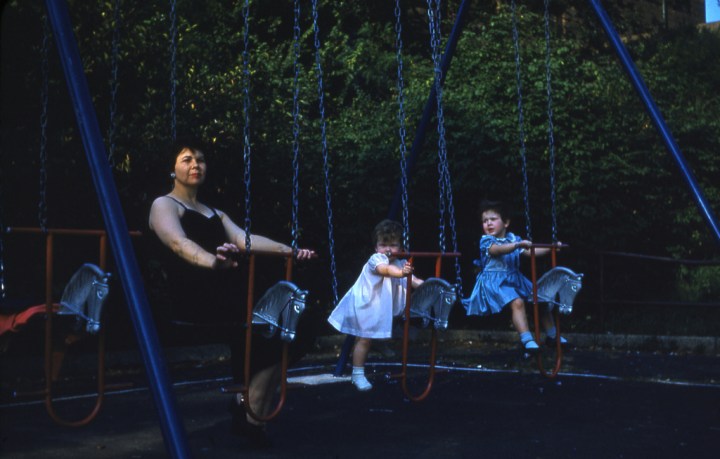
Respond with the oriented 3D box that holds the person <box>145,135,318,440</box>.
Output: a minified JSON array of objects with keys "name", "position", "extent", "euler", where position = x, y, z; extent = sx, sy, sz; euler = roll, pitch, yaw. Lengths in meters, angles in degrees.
[{"name":"person","position":[-1.095,0.489,5.768],"extent":[1.076,2.284,0.606],"euler":[1,2,-8]}]

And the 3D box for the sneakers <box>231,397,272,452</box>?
[{"name":"sneakers","position":[-0.853,1.468,5.911],"extent":[0.264,0.422,0.094],"euler":[-11,11,24]}]

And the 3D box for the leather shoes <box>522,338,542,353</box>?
[{"name":"leather shoes","position":[1.637,1.118,7.200],"extent":[0.141,0.146,0.294],"euler":[1,1,8]}]

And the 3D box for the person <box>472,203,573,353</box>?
[{"name":"person","position":[1.486,0.458,7.644],"extent":[0.829,1.481,1.095],"euler":[1,1,10]}]

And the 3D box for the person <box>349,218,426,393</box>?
[{"name":"person","position":[0.144,0.704,7.129],"extent":[0.586,1.607,1.048],"euler":[1,1,0]}]

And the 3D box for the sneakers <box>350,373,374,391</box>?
[{"name":"sneakers","position":[0.011,1.431,7.225],"extent":[0.188,0.149,0.326],"euler":[1,1,-16]}]
